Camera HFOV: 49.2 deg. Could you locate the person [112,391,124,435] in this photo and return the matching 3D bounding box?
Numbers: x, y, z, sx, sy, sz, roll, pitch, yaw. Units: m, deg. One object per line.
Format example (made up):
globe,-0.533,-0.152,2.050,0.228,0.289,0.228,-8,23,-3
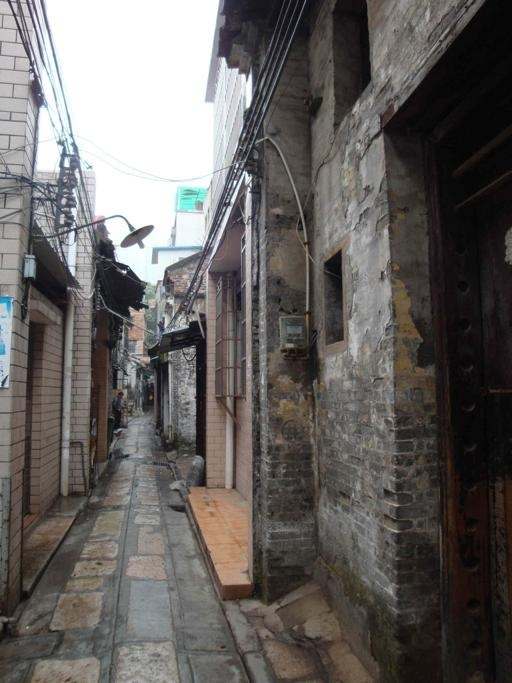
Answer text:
person,-5.423,2.678,21.946,0.349,1.581,2.817,-2,-3,-15
